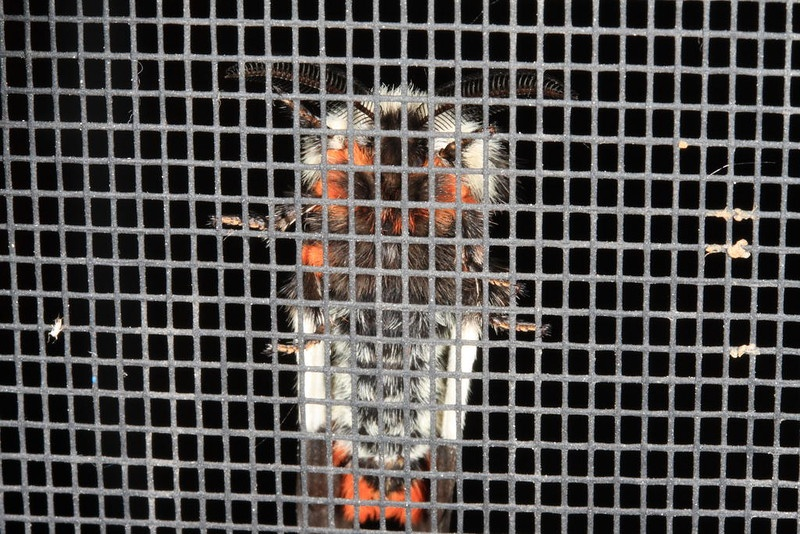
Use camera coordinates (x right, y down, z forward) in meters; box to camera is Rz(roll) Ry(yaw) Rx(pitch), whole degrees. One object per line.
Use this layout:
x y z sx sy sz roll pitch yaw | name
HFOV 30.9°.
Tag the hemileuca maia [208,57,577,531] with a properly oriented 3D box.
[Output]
-0.027 0.164 6.381 1.152 2.116 2.298 0 -75 -1 | hemileuca maia
